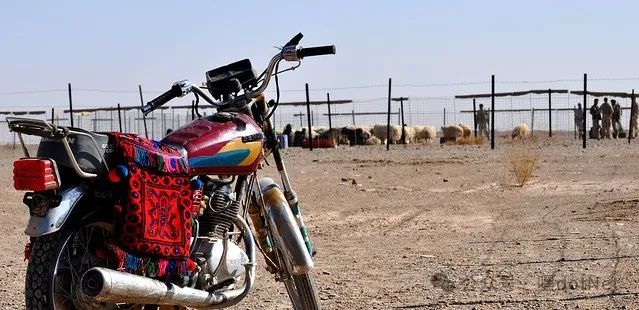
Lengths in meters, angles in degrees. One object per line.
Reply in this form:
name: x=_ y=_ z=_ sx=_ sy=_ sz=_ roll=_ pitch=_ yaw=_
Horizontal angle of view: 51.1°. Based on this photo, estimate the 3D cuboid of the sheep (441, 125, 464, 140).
sheep: x=7.201 y=-1.203 z=36.350 sx=0.788 sy=0.761 sz=1.879 roll=8 pitch=15 yaw=36

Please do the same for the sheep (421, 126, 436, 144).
sheep: x=5.962 y=-1.130 z=36.691 sx=0.693 sy=0.928 sz=1.311 roll=1 pitch=12 yaw=8

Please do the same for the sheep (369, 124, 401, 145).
sheep: x=3.575 y=-0.976 z=35.124 sx=0.741 sy=1.285 sz=2.502 roll=1 pitch=0 yaw=-37

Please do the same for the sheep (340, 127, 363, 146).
sheep: x=1.597 y=-0.841 z=31.428 sx=1.182 sy=0.817 sz=0.762 roll=-4 pitch=13 yaw=-14

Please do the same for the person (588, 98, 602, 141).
person: x=12.151 y=-1.515 z=29.457 sx=0.481 sy=1.814 sz=1.465 roll=5 pitch=14 yaw=23

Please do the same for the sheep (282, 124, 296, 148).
sheep: x=-1.442 y=-0.887 z=32.535 sx=0.772 sy=0.880 sz=1.546 roll=-1 pitch=-9 yaw=1

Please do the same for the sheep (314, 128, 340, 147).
sheep: x=0.339 y=-0.735 z=29.180 sx=1.167 sy=0.500 sz=1.341 roll=1 pitch=7 yaw=-3

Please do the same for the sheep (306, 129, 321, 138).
sheep: x=-0.353 y=-0.966 z=32.247 sx=0.654 sy=0.222 sz=0.660 roll=1 pitch=5 yaw=25
